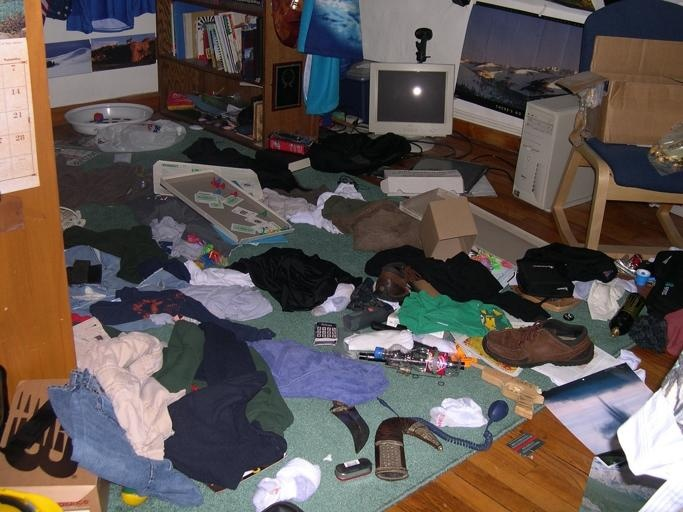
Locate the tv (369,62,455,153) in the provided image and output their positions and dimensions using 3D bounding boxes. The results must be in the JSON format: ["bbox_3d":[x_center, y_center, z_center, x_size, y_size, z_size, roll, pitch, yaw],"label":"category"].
[{"bbox_3d":[0.540,-1.185,4.002,0.708,0.557,0.156,8,35,8],"label":"tv"}]

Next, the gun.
[{"bbox_3d":[0.700,0.558,2.161,0.289,0.092,0.184,15,28,23],"label":"gun"}]

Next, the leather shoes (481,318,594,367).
[{"bbox_3d":[0.873,0.392,2.281,0.481,0.195,0.131,2,27,-2],"label":"leather shoes"}]

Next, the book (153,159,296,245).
[{"bbox_3d":[-0.735,-0.319,3.169,0.679,0.209,0.872,-10,33,-29],"label":"book"}]

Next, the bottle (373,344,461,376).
[{"bbox_3d":[0.339,0.450,2.234,0.399,0.088,0.093,3,26,-1],"label":"bottle"}]

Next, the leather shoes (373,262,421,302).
[{"bbox_3d":[0.291,0.131,2.602,0.216,0.087,0.189,-11,30,-17],"label":"leather shoes"}]
